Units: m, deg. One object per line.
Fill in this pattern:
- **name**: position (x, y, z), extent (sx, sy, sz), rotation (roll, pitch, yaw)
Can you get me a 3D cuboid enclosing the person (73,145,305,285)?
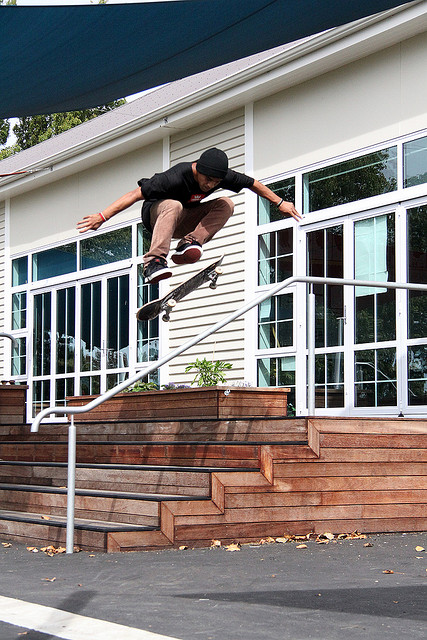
- **person**: position (-0.173, -0.709, 6.409), extent (1.658, 0.850, 0.873), rotation (-4, -7, -13)
